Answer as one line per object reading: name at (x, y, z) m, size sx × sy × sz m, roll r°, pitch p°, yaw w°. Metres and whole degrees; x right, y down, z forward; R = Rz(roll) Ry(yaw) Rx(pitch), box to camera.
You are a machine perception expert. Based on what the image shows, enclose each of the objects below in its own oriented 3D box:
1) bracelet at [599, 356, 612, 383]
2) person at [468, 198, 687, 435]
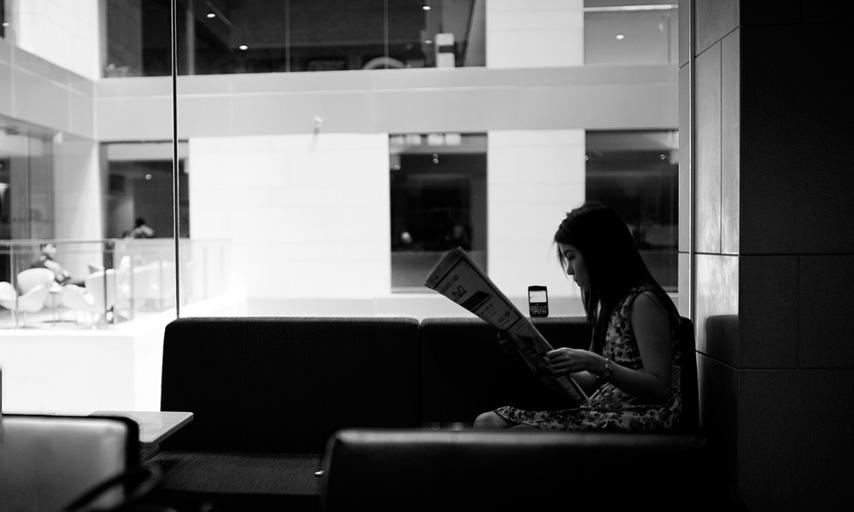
bracelet at (0.886, 0.566, 3.732) m, size 0.041 × 0.097 × 0.075 m, roll 8°, pitch -2°, yaw 9°
person at (0.846, 0.309, 3.860) m, size 0.850 × 1.161 × 0.333 m, roll -1°, pitch -2°, yaw 15°
